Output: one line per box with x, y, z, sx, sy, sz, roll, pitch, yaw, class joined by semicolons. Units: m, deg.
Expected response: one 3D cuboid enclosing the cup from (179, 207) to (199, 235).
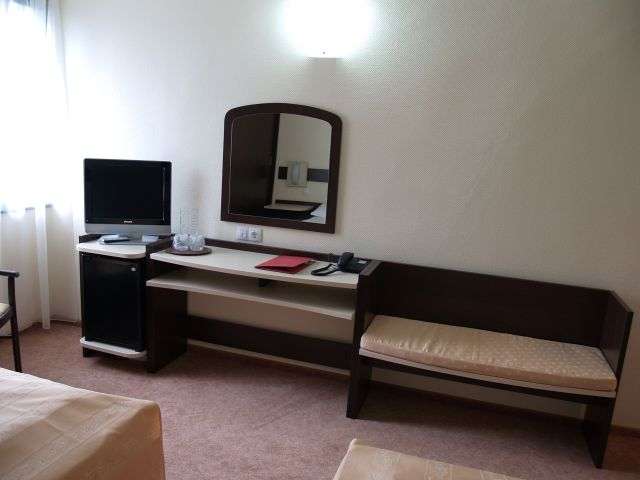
-0.958;-0.148;3.525;0.165;0.289;0.175;2;8;0;cup

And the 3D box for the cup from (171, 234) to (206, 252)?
-0.940;0.007;3.399;0.240;0.110;0.163;2;9;0;cup

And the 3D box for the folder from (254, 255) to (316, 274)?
-0.225;0.148;3.220;0.281;0.046;0.381;6;10;21;folder

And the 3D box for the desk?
-0.429;0.547;3.366;1.403;0.959;0.533;7;15;10;desk

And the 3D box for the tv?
-1.372;-0.300;3.481;0.598;0.543;0.053;0;-2;-12;tv

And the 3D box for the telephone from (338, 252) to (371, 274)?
0.210;0.146;3.174;0.156;0.039;0.152;10;20;24;telephone

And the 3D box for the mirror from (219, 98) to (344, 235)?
-0.240;-0.540;3.375;0.846;0.894;0.038;6;12;15;mirror
